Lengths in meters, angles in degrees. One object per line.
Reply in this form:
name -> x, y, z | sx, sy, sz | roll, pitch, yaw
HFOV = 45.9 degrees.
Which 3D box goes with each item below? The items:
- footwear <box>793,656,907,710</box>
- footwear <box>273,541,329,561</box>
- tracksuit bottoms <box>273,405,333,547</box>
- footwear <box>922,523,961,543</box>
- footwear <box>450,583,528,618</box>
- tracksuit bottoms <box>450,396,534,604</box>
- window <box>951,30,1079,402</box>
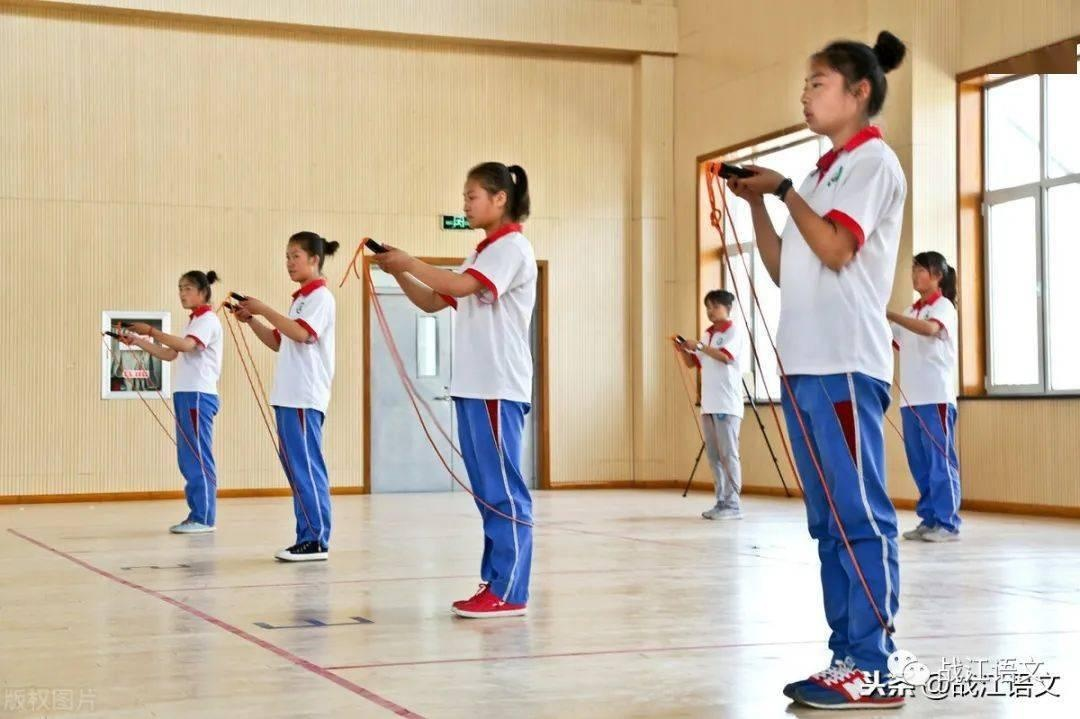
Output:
footwear -> 1.335, 1.424, 5.617 | 0.520, 0.223, 0.194 | 4, -16, -5
footwear -> -1.506, 1.234, 8.096 | 0.337, 0.146, 0.129 | 5, -11, -6
tracksuit bottoms -> -1.496, 0.759, 8.118 | 0.298, 0.965, 0.271 | -4, 5, -13
footwear -> 2.837, 1.231, 8.998 | 0.281, 0.124, 0.104 | 3, -5, -13
footwear -> -0.262, 1.277, 6.696 | 0.322, 0.156, 0.164 | 6, -14, -7
tracksuit bottoms -> -0.233, 0.744, 6.731 | 0.390, 1.109, 0.290 | -3, 5, 0
window -> 4.000, -1.172, 11.095 | 0.736, 2.914, 0.616 | -1, 5, 21
